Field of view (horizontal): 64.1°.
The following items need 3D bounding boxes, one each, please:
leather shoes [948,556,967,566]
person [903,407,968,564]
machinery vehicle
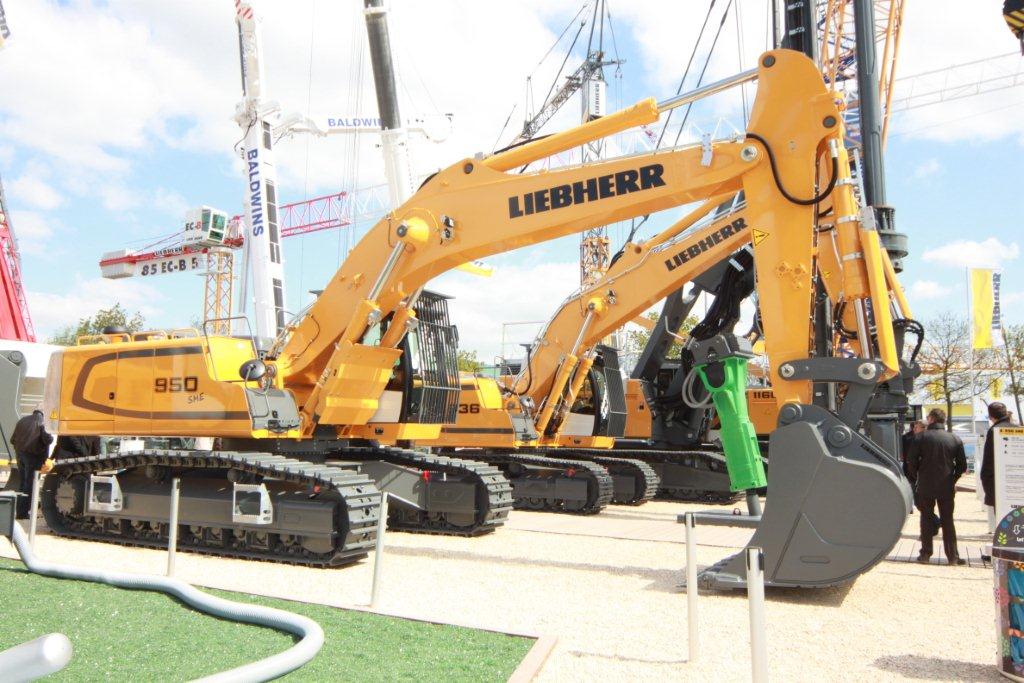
[{"bbox_3d":[6.611,3.299,12.185,0.277,0.115,0.112,-3,-4,-8],"label":"leather shoes"},{"bbox_3d":[6.402,2.219,12.400,0.754,2.304,0.833,0,-5,27],"label":"person"},{"bbox_3d":[-2.213,0.279,17.849,18.932,11.895,7.621,-2,-4,21],"label":"machinery vehicle"}]
